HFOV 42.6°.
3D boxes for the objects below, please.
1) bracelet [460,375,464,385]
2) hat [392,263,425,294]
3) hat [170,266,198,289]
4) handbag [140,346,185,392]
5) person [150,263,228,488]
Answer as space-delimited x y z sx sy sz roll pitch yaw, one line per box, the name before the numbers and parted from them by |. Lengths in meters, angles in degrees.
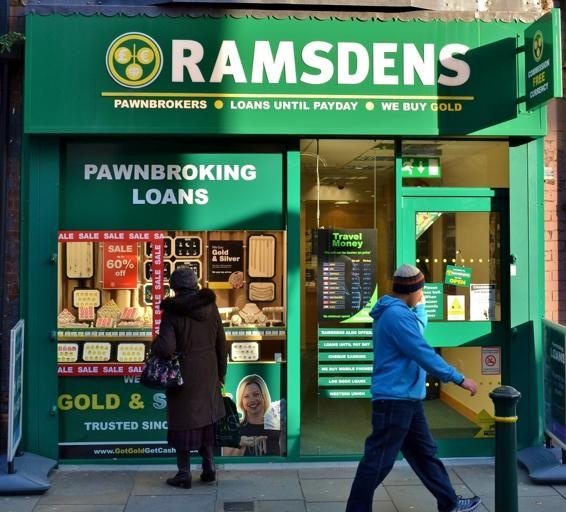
bracelet | 1.273 0.899 5.153 0.030 0.084 0.073 2 10 14
hat | 0.949 0.185 5.540 0.197 0.190 0.218 0 8 0
hat | -0.829 0.185 6.159 0.192 0.165 0.166 0 2 -37
handbag | -1.004 0.917 5.953 0.342 0.375 0.164 -1 -11 20
person | -0.774 1.058 6.094 0.618 1.866 0.378 -2 9 -9
